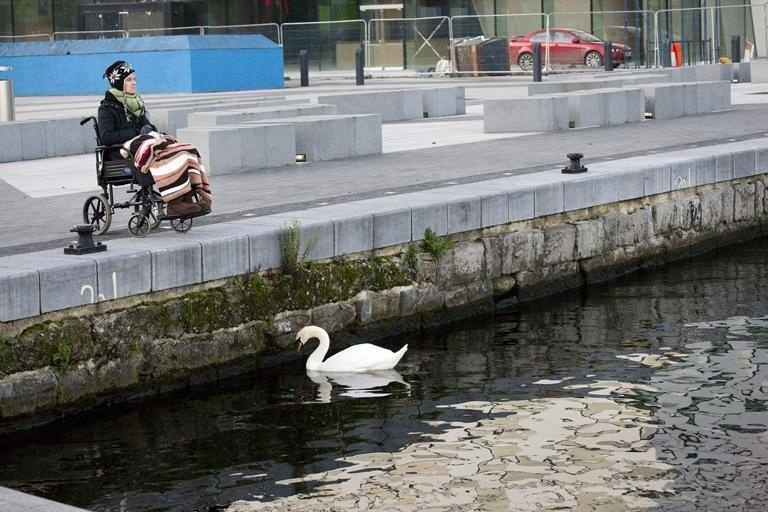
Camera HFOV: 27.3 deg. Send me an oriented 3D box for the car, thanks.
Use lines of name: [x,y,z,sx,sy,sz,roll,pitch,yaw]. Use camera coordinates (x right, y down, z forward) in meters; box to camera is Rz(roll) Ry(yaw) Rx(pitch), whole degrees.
car: [6.369,-7.484,57.358,3.703,1.468,1.261,2,9,34]
